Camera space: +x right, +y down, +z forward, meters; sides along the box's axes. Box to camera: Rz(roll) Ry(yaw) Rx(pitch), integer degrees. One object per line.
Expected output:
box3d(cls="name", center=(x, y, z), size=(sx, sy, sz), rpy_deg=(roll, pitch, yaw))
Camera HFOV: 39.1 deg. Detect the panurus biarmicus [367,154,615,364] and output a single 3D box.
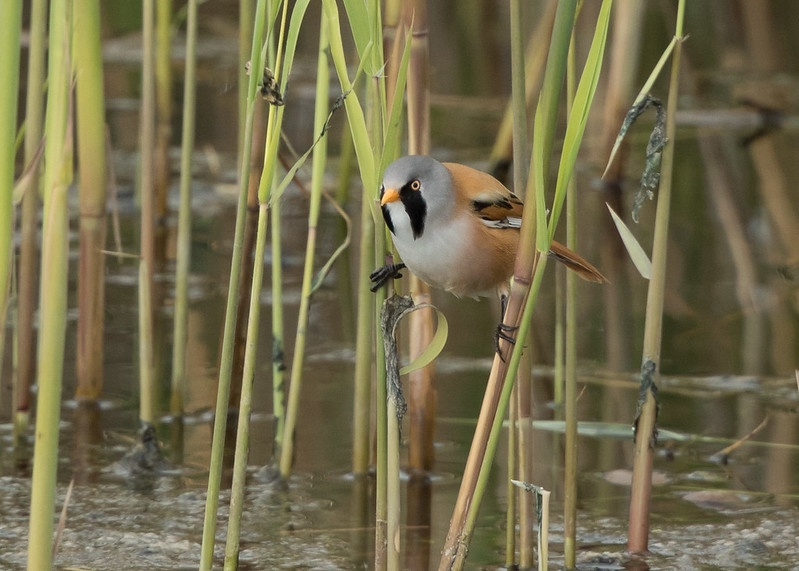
box3d(cls="panurus biarmicus", center=(0.329, -0.185, 4.143), size=(0.972, 0.595, 0.627), rpy_deg=(-10, 20, -32))
